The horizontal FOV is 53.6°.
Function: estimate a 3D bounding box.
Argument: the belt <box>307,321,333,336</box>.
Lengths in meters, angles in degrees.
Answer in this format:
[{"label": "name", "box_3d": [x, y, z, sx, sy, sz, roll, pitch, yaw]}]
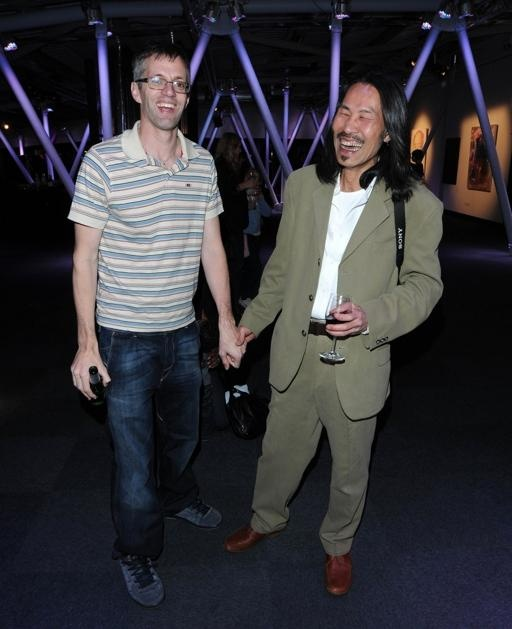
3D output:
[{"label": "belt", "box_3d": [0.241, 0.050, 1.964, 0.071, 0.051, 0.052, -5, 8, 2]}]

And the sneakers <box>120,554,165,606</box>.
[{"label": "sneakers", "box_3d": [-0.504, 1.107, 2.239, 0.110, 0.113, 0.288, -8, 21, -30]}]

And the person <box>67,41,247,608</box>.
[{"label": "person", "box_3d": [-0.411, 0.100, 2.111, 0.387, 2.193, 0.747, 11, 16, 34]}]

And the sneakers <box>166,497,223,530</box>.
[{"label": "sneakers", "box_3d": [-0.313, 1.031, 2.683, 0.249, 0.096, 0.124, 2, 7, 14]}]

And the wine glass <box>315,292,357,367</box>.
[{"label": "wine glass", "box_3d": [0.283, 0.069, 1.839, 0.094, 0.290, 0.210, 3, 14, 8]}]

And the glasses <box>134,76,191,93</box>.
[{"label": "glasses", "box_3d": [-0.341, -0.841, 1.872, 0.196, 0.057, 0.108, -2, 14, -13]}]

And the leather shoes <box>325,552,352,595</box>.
[{"label": "leather shoes", "box_3d": [0.370, 1.132, 2.238, 0.071, 0.078, 0.200, -1, 4, 3]}]

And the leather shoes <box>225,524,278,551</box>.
[{"label": "leather shoes", "box_3d": [-0.003, 1.088, 2.529, 0.297, 0.118, 0.096, -5, 13, -21]}]

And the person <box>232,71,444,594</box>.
[{"label": "person", "box_3d": [0.308, 0.151, 2.135, 0.507, 2.101, 0.724, -9, 17, -37]}]
